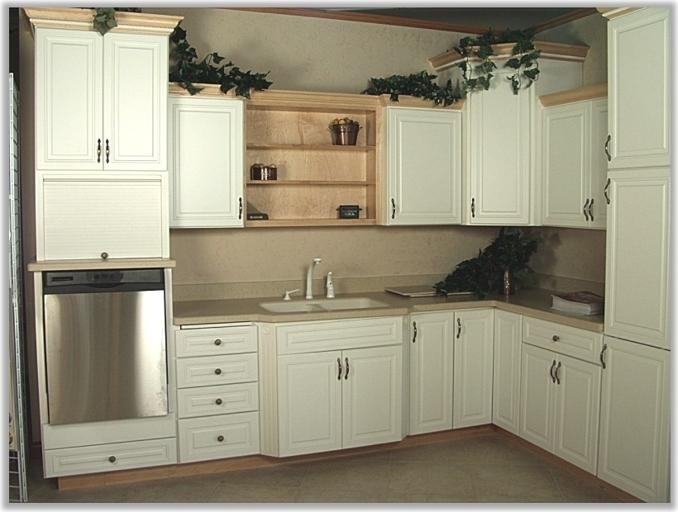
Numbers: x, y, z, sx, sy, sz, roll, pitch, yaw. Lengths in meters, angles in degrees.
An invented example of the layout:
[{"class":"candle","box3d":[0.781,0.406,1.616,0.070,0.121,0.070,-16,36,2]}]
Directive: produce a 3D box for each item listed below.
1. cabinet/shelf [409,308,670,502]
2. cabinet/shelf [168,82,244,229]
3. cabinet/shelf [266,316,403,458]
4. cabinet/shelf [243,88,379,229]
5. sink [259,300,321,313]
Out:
[{"class":"cabinet/shelf","box3d":[1.356,0.912,3.884,0.678,0.926,1.701,-7,11,-40]},{"class":"cabinet/shelf","box3d":[-0.922,-0.674,4.097,0.525,0.931,0.171,-1,10,-10]},{"class":"cabinet/shelf","box3d":[-0.062,0.882,4.049,1.333,0.873,0.496,-1,2,-17]},{"class":"cabinet/shelf","box3d":[-0.224,-0.720,4.545,1.185,0.877,0.285,-5,11,-22]},{"class":"sink","box3d":[-0.341,0.394,4.300,0.467,0.074,0.336,-1,7,-10]}]
